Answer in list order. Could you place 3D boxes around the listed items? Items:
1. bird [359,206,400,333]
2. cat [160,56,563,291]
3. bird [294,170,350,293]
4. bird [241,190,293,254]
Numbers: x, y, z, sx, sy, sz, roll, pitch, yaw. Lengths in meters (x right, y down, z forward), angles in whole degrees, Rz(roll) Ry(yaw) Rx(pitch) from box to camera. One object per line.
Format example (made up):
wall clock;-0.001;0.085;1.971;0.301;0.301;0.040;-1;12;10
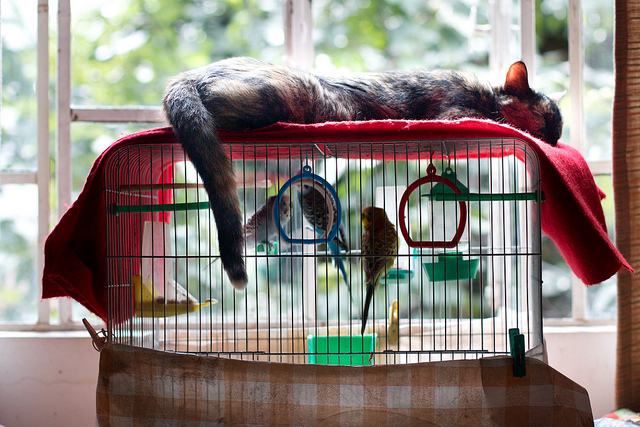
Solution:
bird;0.245;0.248;4.141;0.204;0.570;0.153;8;-2;-45
cat;0.094;-0.464;4.120;1.298;1.250;0.555;19;-8;-5
bird;0.005;0.074;4.282;0.136;0.633;0.200;-20;5;16
bird;-0.233;0.028;4.127;0.224;0.279;0.255;-3;-3;-1
